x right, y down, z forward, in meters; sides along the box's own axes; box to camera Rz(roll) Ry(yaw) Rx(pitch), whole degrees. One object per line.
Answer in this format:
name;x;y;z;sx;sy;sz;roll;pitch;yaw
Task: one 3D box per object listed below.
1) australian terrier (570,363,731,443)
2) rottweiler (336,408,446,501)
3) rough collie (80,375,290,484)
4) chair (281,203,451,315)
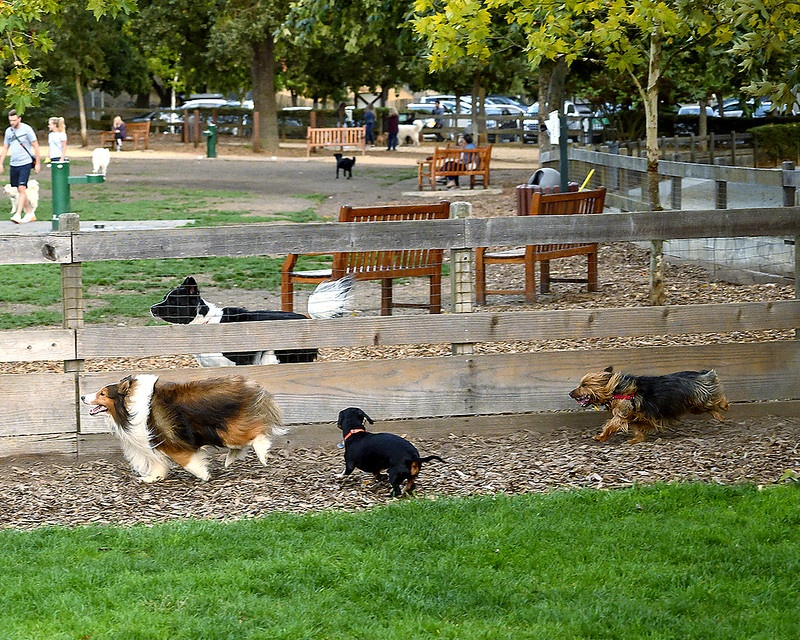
australian terrier;2.114;0.687;12.971;1.526;0.553;0.397;-4;2;-23
rottweiler;-0.152;1.045;12.038;0.439;0.644;0.821;-4;6;-38
rough collie;-1.721;0.993;12.080;2.156;1.054;0.923;-1;6;-9
chair;-0.133;-0.638;16.055;2.083;1.244;1.571;-1;15;-26
